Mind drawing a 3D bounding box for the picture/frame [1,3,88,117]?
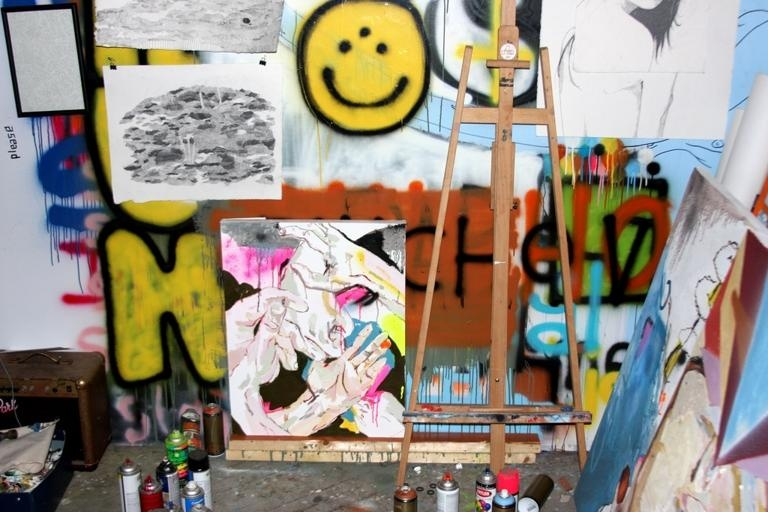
[{"bbox_3d":[-2.227,-1.337,5.032,0.598,0.874,0.056,-2,11,-1],"label":"picture/frame"}]
